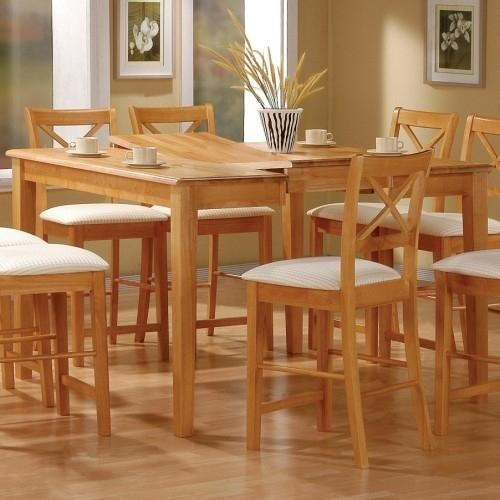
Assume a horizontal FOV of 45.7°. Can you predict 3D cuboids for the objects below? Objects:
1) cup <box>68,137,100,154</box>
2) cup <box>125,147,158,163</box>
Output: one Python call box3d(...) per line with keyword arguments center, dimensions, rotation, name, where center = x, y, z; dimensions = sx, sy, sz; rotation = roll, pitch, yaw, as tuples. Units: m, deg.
box3d(center=(-0.644, -0.402, 2.351), dimensions=(0.130, 0.081, 0.091), rotation=(-1, 6, -7), name="cup")
box3d(center=(-0.360, -0.298, 1.939), dimensions=(0.118, 0.063, 0.082), rotation=(-1, 7, 0), name="cup")
